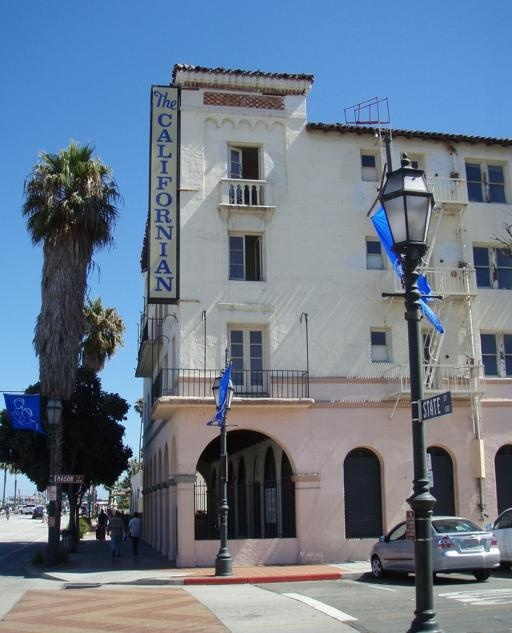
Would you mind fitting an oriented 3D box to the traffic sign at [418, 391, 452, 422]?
[{"bbox_3d":[1.908,0.923,8.502,0.247,0.286,0.566,3,-13,-15],"label":"traffic sign"}]

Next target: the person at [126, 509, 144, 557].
[{"bbox_3d":[-3.950,7.006,26.560,0.366,1.338,0.352,1,-2,-21],"label":"person"}]
